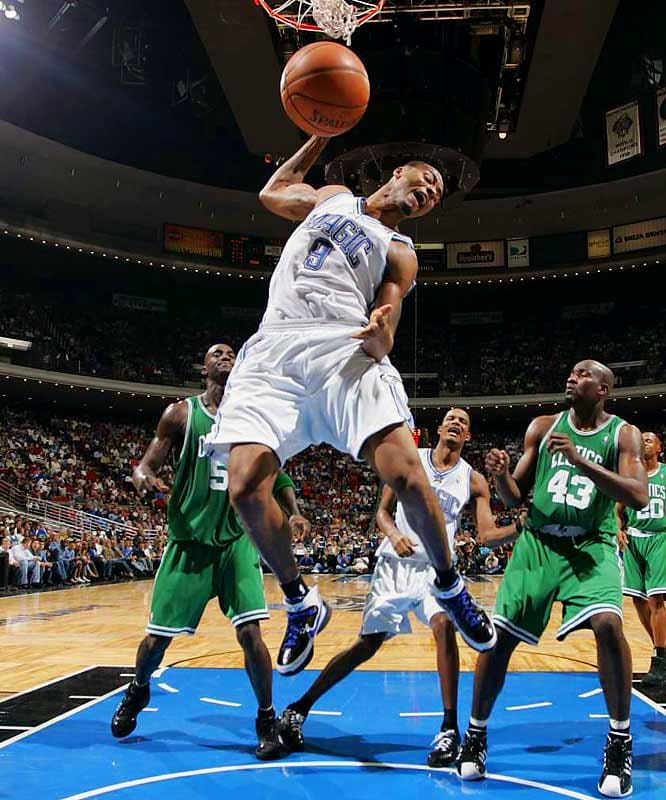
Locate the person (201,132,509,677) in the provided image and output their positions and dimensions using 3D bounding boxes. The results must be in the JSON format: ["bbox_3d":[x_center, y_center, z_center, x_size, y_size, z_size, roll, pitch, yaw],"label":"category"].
[{"bbox_3d":[0.065,-0.048,2.303,0.981,2.049,0.579,1,-5,12],"label":"person"}]

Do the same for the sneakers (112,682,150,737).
[{"bbox_3d":[-0.900,1.375,2.997,0.147,0.258,0.209,4,-5,-16],"label":"sneakers"}]

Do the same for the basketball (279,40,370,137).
[{"bbox_3d":[-0.033,-1.193,2.495,0.300,0.425,0.235,4,-5,-16],"label":"basketball"}]

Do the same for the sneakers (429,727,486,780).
[{"bbox_3d":[0.487,1.359,2.595,0.118,0.132,0.332,-4,-26,13],"label":"sneakers"}]

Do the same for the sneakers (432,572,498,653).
[{"bbox_3d":[0.414,0.672,2.119,0.172,0.293,0.304,0,-5,23],"label":"sneakers"}]
